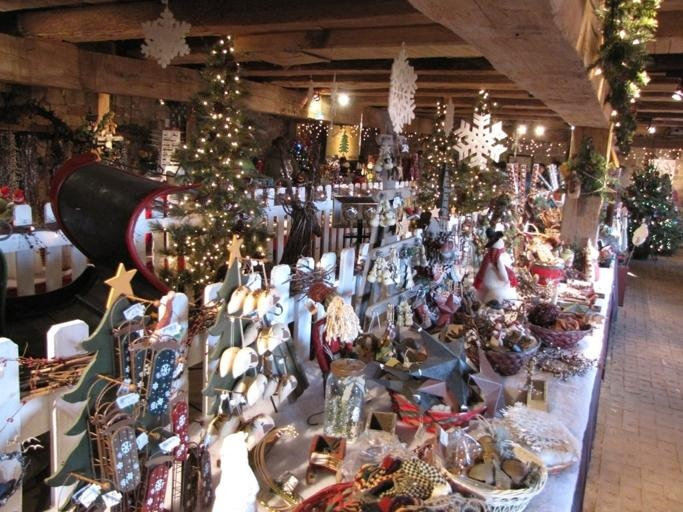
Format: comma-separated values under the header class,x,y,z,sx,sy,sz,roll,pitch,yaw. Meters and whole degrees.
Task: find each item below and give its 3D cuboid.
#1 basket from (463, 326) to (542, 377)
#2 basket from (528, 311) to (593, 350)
class,x,y,z,sx,sy,sz,roll,pitch,yaw
basket,0.813,0.462,2.703,0.267,0.168,0.278,-1,2,0
basket,1.257,0.372,2.985,0.240,0.111,0.252,1,14,24
